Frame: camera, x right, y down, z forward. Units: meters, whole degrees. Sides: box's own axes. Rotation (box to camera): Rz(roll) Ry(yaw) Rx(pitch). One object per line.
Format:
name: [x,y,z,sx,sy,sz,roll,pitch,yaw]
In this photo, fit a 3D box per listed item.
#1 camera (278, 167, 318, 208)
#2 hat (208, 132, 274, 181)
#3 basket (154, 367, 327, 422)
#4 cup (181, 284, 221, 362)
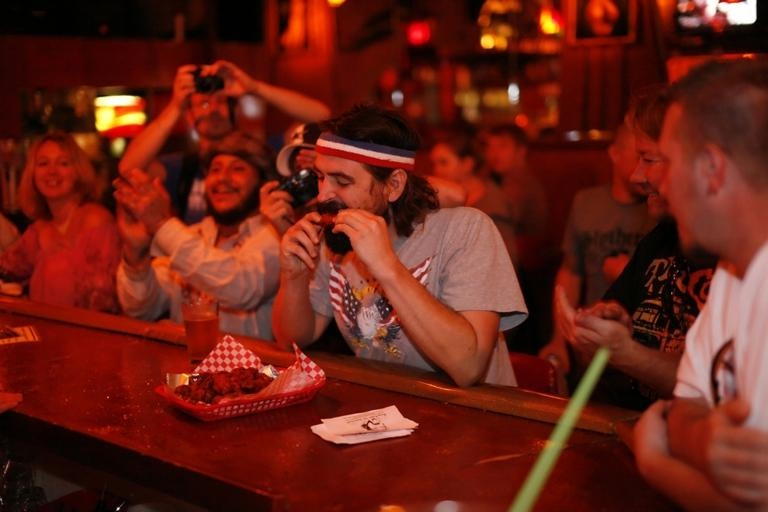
camera: [-0.408,-0.336,3.205,0.150,0.161,0.223,-3,-7,-42]
hat: [-0.780,-0.575,3.676,0.250,0.255,0.326,3,-31,16]
basket: [-0.508,0.441,2.229,0.510,0.108,0.392,-3,6,-43]
cup: [-0.753,0.284,2.671,0.162,0.289,0.141,1,4,17]
